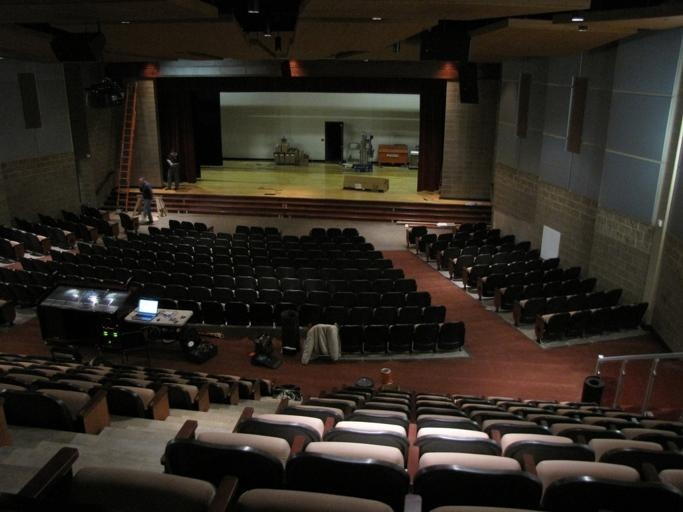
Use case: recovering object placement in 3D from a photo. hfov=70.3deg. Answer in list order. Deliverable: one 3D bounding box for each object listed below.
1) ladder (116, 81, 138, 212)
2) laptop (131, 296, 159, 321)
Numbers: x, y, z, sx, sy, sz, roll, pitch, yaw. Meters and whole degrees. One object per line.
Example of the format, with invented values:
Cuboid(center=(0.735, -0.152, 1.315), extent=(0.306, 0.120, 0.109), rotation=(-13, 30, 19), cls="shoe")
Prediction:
Cuboid(center=(-8.757, -4.509, 19.789), extent=(1.049, 5.098, 1.909), rotation=(-4, 12, -23), cls="ladder")
Cuboid(center=(-3.465, 0.956, 8.598), extent=(0.421, 0.348, 0.308), rotation=(5, 11, 6), cls="laptop")
